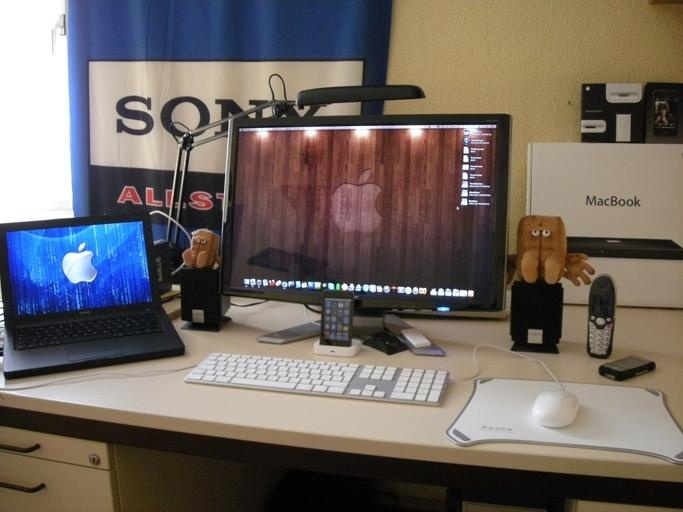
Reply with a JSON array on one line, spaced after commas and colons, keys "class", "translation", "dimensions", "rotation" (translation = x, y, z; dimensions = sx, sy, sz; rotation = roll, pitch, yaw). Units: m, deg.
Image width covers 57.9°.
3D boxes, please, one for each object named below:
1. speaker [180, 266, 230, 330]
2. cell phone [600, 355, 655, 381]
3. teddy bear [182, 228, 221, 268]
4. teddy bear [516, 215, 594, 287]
[{"class": "speaker", "translation": [-0.370, 0.103, 1.692], "dimensions": [0.140, 0.208, 0.149], "rotation": [3, 10, 6]}, {"class": "cell phone", "translation": [0.672, 0.245, 1.443], "dimensions": [0.105, 0.025, 0.057], "rotation": [-12, 18, -33]}, {"class": "teddy bear", "translation": [-0.375, -0.024, 1.700], "dimensions": [0.097, 0.105, 0.099], "rotation": [1, 4, 4]}, {"class": "teddy bear", "translation": [0.544, -0.003, 1.596], "dimensions": [0.277, 0.213, 0.149], "rotation": [2, -2, 19]}]
